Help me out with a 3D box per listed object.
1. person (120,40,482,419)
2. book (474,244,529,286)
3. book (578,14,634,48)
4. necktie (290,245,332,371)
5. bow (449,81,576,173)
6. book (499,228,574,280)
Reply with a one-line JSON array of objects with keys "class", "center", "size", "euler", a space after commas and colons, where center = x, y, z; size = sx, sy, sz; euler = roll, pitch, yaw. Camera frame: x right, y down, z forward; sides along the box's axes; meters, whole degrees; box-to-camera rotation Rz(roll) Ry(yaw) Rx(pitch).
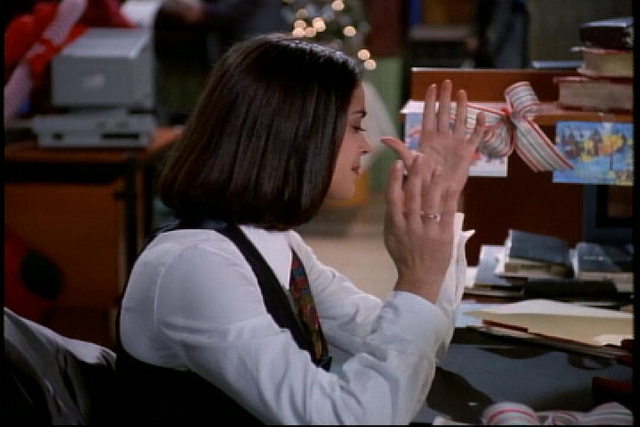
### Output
[{"class": "person", "center": [-0.030, -0.123, 3.076], "size": [0.825, 1.817, 0.715], "euler": [1, 13, 3]}, {"class": "book", "center": [0.475, 0.143, 2.870], "size": [0.098, 0.027, 0.111], "euler": [3, 42, 8]}, {"class": "book", "center": [0.702, -0.448, 2.618], "size": [0.117, 0.041, 0.127], "euler": [4, 20, 25]}, {"class": "necktie", "center": [-0.032, 0.231, 2.530], "size": [0.056, 0.274, 0.039], "euler": [-15, 8, 7]}, {"class": "bow", "center": [0.466, -0.186, 2.677], "size": [0.303, 0.157, 0.289], "euler": [-7, 44, 21]}, {"class": "book", "center": [0.578, 0.117, 2.856], "size": [0.193, 0.104, 0.211], "euler": [6, 31, 10]}]
